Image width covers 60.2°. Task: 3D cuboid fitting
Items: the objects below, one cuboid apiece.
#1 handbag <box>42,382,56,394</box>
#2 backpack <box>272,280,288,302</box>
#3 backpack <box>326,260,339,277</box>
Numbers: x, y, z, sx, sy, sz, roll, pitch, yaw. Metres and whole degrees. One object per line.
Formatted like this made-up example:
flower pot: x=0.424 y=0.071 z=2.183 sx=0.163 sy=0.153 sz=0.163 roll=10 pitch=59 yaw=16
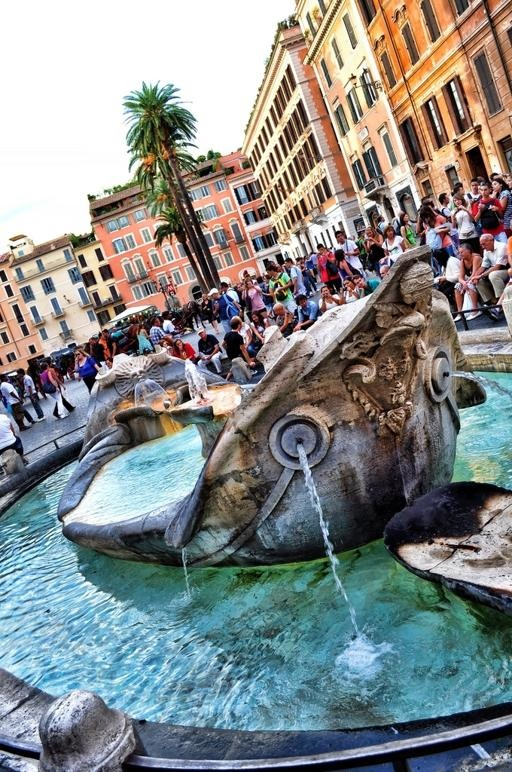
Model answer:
handbag: x=-8.899 y=0.064 z=19.631 sx=0.443 sy=0.573 sz=0.581 roll=-4 pitch=3 yaw=-34
backpack: x=0.793 y=-3.053 z=14.062 sx=0.385 sy=0.704 sz=0.453 roll=-31 pitch=40 yaw=21
backpack: x=2.427 y=-3.789 z=14.357 sx=0.467 sy=0.468 sz=0.381 roll=28 pitch=40 yaw=33
